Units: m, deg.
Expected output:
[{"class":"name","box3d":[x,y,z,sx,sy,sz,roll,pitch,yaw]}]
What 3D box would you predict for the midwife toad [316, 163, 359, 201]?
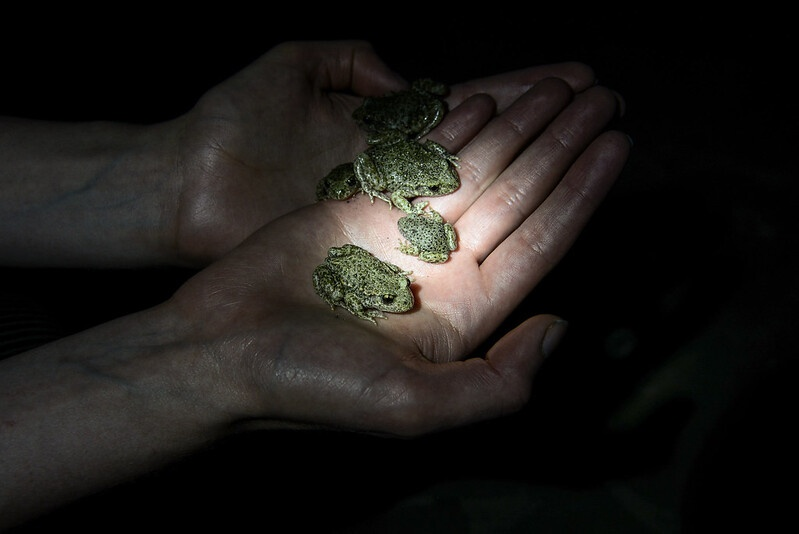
[{"class":"midwife toad","box3d":[-0.715,-0.968,8.020,0.504,0.266,0.475,-8,47,-6]}]
